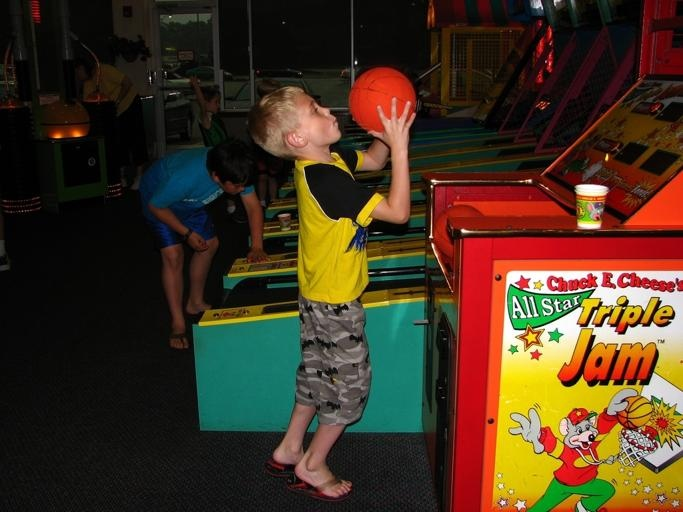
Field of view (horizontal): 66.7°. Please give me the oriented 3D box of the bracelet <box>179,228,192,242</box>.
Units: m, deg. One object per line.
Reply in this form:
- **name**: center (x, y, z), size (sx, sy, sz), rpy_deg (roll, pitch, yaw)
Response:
- **bracelet**: center (-0.992, -0.127, 3.317), size (0.029, 0.075, 0.064), rpy_deg (33, 0, -2)

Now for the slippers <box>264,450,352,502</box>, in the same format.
- **slippers**: center (-0.158, 0.990, 2.285), size (0.377, 0.105, 0.140), rpy_deg (9, 19, 28)

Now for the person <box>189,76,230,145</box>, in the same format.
- **person**: center (-1.445, -1.524, 5.651), size (0.369, 0.749, 1.426), rpy_deg (-3, 24, -13)

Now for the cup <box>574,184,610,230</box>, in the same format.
- **cup**: center (0.727, -0.153, 1.586), size (0.116, 0.139, 0.122), rpy_deg (0, 2, 0)

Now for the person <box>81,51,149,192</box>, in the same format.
- **person**: center (-3.492, -1.992, 7.983), size (0.626, 1.919, 1.183), rpy_deg (7, 23, 11)

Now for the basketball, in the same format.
- **basketball**: center (0.119, -0.584, 1.960), size (0.185, 0.225, 0.188), rpy_deg (-7, 13, -20)

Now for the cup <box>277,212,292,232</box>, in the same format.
- **cup**: center (-0.421, -0.253, 3.786), size (0.116, 0.129, 0.120), rpy_deg (0, 18, 0)

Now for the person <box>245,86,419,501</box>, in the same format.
- **person**: center (-0.048, 0.193, 2.120), size (0.588, 1.643, 0.506), rpy_deg (-2, 23, -10)
